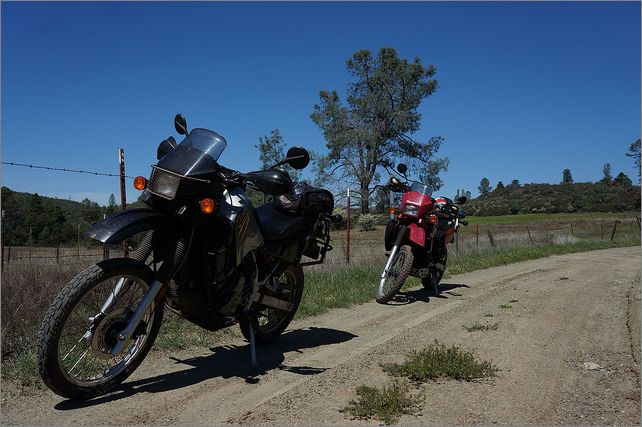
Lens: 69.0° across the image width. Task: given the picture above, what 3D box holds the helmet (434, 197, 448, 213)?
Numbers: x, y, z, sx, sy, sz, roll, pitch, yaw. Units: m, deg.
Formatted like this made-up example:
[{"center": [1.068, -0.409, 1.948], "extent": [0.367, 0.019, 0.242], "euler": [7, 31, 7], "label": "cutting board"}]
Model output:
[{"center": [2.604, -0.154, 10.167], "extent": [0.295, 0.415, 0.378], "euler": [6, -1, 3], "label": "helmet"}]

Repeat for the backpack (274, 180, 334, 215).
[{"center": [-0.290, -0.246, 7.537], "extent": [0.861, 0.547, 0.478], "euler": [5, 1, -22], "label": "backpack"}]
